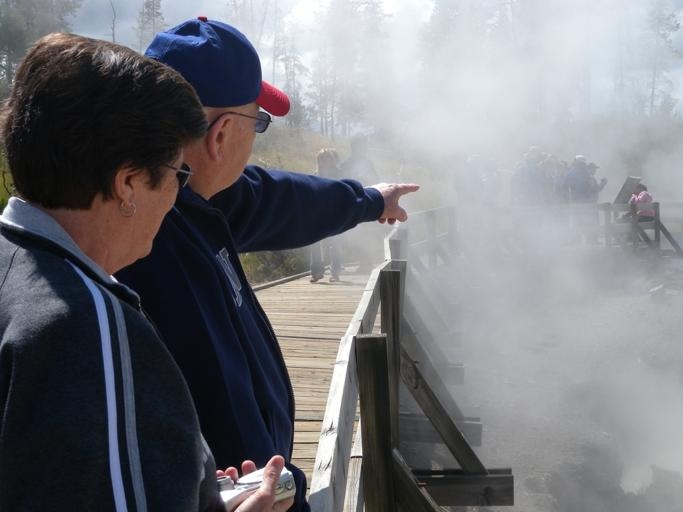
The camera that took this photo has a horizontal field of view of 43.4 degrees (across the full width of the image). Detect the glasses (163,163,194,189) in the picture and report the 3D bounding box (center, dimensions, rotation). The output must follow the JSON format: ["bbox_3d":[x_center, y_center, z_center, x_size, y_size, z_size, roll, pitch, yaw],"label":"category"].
[{"bbox_3d":[-1.715,-0.835,9.040,0.227,0.096,0.237,15,5,10],"label":"glasses"}]
